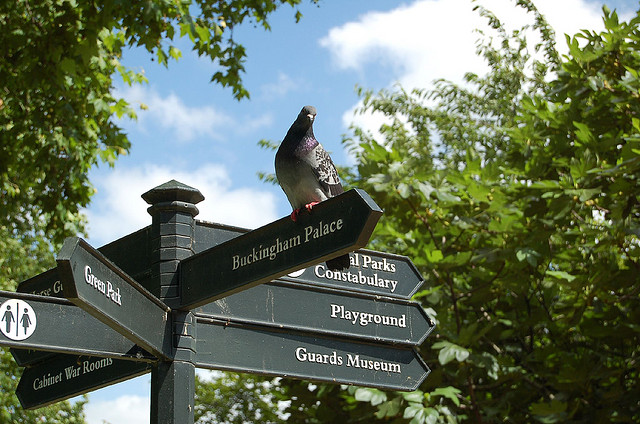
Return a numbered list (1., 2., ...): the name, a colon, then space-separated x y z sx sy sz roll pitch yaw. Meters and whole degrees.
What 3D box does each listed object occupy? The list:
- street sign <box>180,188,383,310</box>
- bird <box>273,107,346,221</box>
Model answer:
1. street sign: -0.424 0.418 10.941 2.308 0.578 0.243 -21 -35 26
2. bird: -0.200 -0.530 12.082 0.599 0.744 0.785 -20 -52 12
